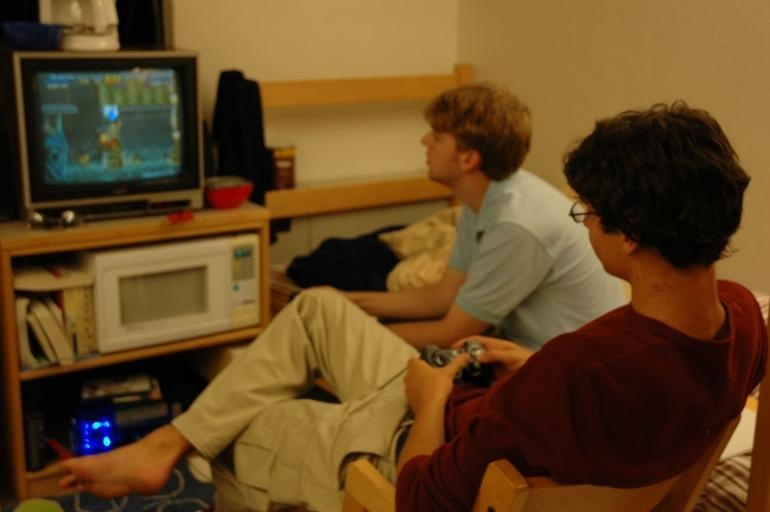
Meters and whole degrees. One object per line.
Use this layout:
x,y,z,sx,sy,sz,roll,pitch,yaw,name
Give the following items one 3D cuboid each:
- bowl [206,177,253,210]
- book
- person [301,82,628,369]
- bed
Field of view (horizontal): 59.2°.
-0.618,-0.238,2.759,0.190,0.119,0.220,-1,-6,-31,bowl
-1.180,0.213,2.401,0.254,0.359,0.120,-5,-1,-28,book
0.310,-0.096,2.584,1.086,0.980,0.672,-2,14,5,person
0.250,0.026,2.001,1.515,1.167,0.997,11,16,41,bed
